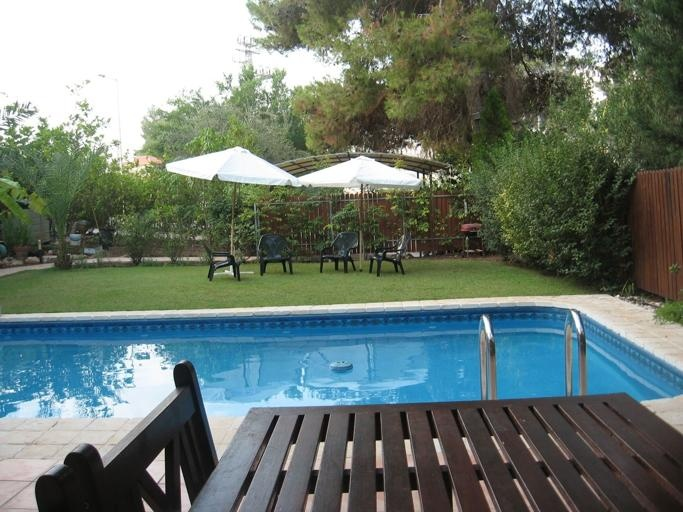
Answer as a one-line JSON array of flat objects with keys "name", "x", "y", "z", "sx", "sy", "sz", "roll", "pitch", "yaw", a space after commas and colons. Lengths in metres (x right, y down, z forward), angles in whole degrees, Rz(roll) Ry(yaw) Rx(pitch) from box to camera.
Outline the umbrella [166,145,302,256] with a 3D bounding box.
[{"name": "umbrella", "x": -2.435, "y": -0.834, "z": 11.981, "sx": 2.317, "sy": 2.110, "sz": 2.711, "roll": 13, "pitch": 10, "yaw": 27}]

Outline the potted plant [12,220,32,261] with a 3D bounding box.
[{"name": "potted plant", "x": -11.092, "y": -0.595, "z": 18.098, "sx": 0.809, "sy": 1.283, "sz": 0.672, "roll": 2, "pitch": 9, "yaw": 26}]
